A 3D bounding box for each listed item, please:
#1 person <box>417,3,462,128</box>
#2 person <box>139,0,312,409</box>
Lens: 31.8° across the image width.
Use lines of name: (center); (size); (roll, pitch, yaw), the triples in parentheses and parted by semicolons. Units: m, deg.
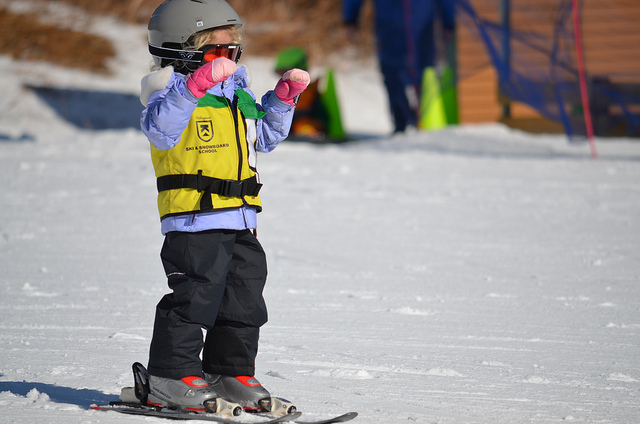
person: (1.886, -2.318, 17.798); (0.826, 1.971, 0.671); (3, 6, 24)
person: (-0.830, -0.067, 8.928); (1.134, 3.214, 0.535); (0, 6, -5)
